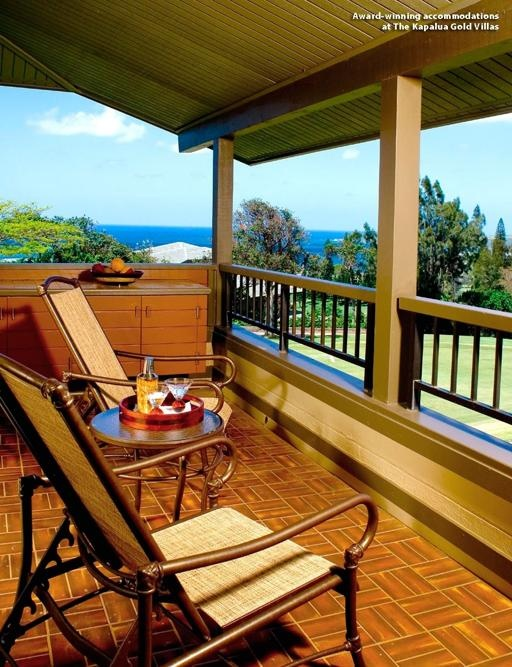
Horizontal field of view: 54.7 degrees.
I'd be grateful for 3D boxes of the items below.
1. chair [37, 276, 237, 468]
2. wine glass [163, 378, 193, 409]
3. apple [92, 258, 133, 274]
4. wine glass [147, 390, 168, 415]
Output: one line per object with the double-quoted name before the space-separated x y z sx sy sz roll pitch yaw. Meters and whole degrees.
"chair" -0.554 0.102 2.603 1.254 1.105 0.758 -1 10 -4
"wine glass" -0.313 0.245 2.035 0.121 0.131 0.116 1 5 -2
"apple" -1.457 -0.650 4.911 0.262 0.102 0.229 3 7 22
"wine glass" -0.382 0.269 1.926 0.079 0.065 0.079 1 4 0
